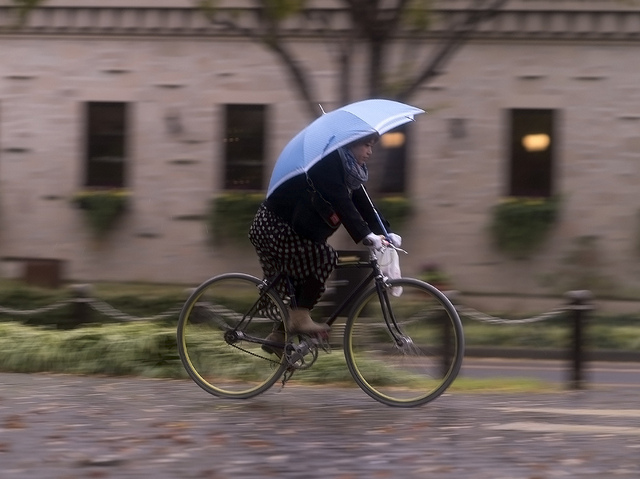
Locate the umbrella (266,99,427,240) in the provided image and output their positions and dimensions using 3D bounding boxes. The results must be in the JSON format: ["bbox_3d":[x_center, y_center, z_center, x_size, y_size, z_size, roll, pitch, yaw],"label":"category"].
[{"bbox_3d":[0.377,-0.845,13.833,1.908,1.218,1.562,-17,-5,-9],"label":"umbrella"}]
